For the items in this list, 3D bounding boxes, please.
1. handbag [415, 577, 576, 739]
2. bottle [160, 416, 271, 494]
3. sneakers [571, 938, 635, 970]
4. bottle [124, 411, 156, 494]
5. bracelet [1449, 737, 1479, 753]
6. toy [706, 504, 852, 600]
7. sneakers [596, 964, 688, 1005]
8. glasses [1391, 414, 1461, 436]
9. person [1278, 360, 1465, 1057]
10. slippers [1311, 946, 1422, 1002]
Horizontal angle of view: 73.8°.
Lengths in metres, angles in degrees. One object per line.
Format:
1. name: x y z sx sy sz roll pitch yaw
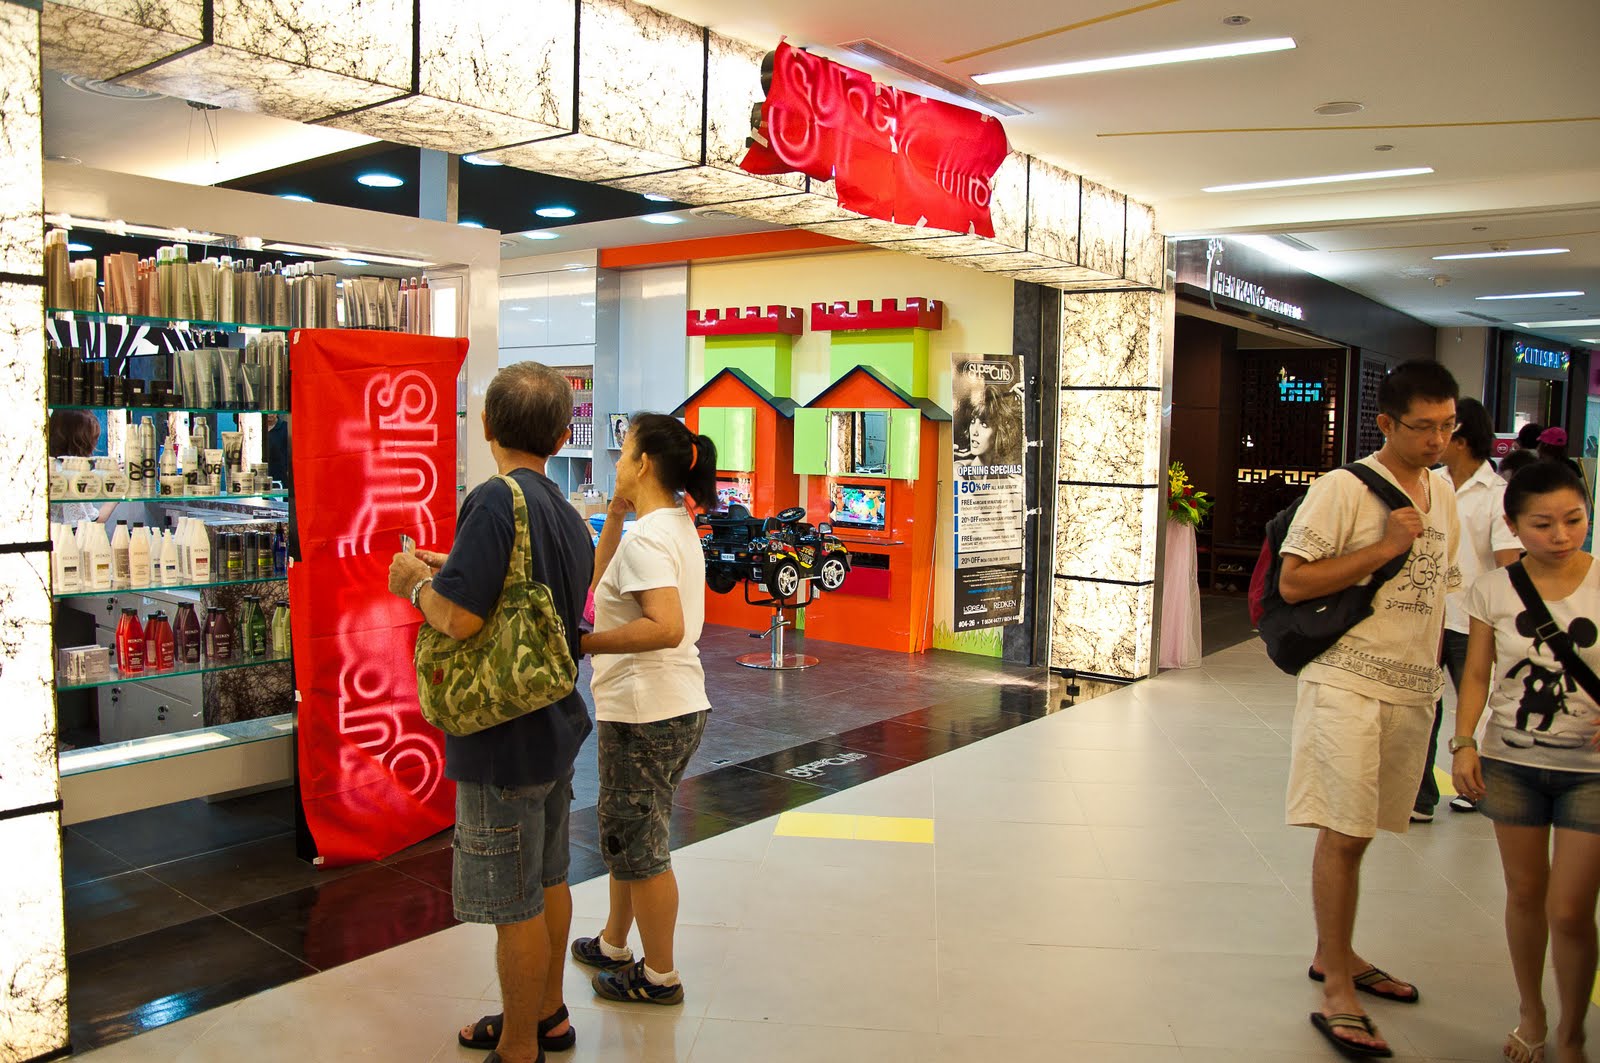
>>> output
1. handbag: -1.022 0.411 3.542 0.456 0.421 0.239 -20 0 12
2. bottle: -3.025 -0.406 5.442 0.134 0.339 0.417 7 6 42
3. sneakers: -0.822 1.751 4.489 0.267 0.111 0.115 8 6 25
4. bottle: -3.220 -0.379 5.205 0.049 0.388 0.161 2 8 14
5. bracelet: 2.419 0.763 3.870 0.068 0.038 0.066 3 4 12
6. toy: -0.231 0.146 9.750 0.841 0.736 1.521 2 3 34
7. sneakers: -0.645 1.792 4.279 0.341 0.138 0.144 8 -3 4
8. glasses: 2.364 -0.415 4.045 0.137 0.043 0.135 -2 -1 -10
9. person: 2.215 0.640 4.105 0.664 2.571 0.545 -3 8 -24
10. slippers: 2.320 1.823 4.362 0.174 0.093 0.367 -6 4 -44
